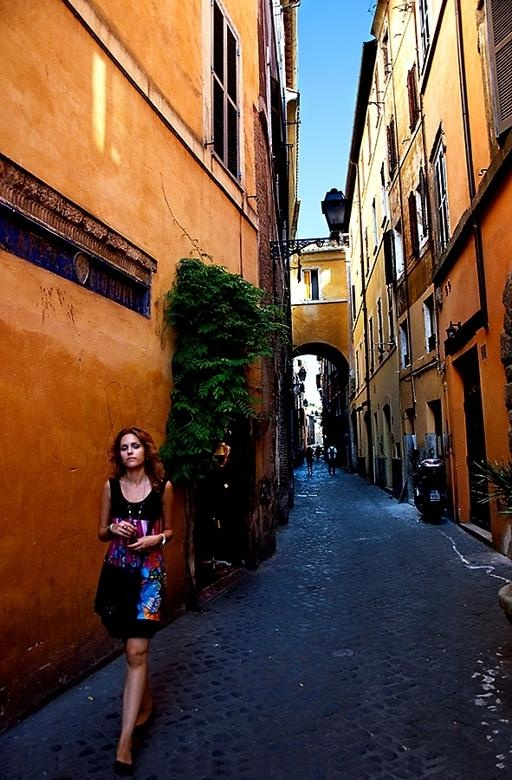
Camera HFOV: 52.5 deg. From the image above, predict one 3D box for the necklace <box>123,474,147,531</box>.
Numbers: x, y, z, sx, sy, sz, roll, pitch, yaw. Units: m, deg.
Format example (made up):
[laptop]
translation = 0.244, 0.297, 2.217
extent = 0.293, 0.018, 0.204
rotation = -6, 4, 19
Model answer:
[necklace]
translation = -0.538, 0.512, 2.306
extent = 0.103, 0.180, 0.041
rotation = -6, -28, 1

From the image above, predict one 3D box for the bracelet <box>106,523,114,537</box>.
[bracelet]
translation = -0.629, 0.609, 2.253
extent = 0.044, 0.056, 0.051
rotation = -1, -13, 2

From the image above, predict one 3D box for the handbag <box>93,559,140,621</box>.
[handbag]
translation = -0.595, 0.871, 2.211
extent = 0.203, 0.252, 0.080
rotation = -3, -8, 13

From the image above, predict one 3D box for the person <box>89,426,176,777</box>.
[person]
translation = -0.554, 0.824, 2.242
extent = 0.296, 1.342, 0.444
rotation = -2, -7, 7

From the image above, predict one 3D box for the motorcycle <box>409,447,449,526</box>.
[motorcycle]
translation = 3.450, 1.985, 10.167
extent = 0.554, 1.196, 0.525
rotation = -4, -8, 23
